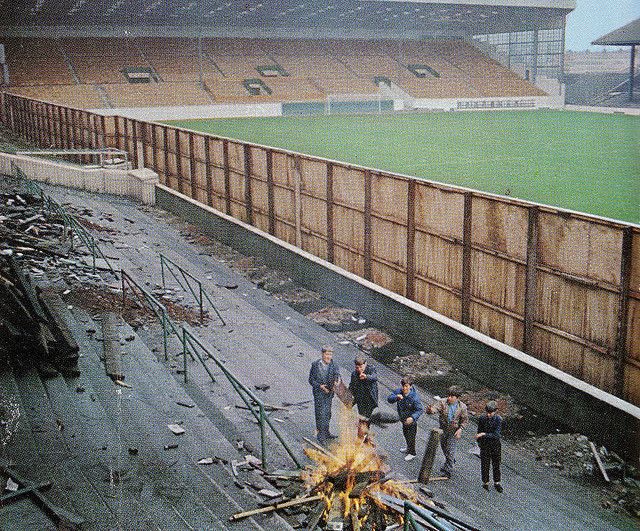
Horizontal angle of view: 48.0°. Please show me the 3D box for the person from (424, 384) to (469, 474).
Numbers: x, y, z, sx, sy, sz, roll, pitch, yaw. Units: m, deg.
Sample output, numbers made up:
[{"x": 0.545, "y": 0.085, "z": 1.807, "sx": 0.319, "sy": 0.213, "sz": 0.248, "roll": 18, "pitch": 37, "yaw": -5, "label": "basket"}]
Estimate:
[{"x": 2.146, "y": 2.750, "z": 11.870, "sx": 0.530, "sy": 1.425, "sz": 0.479, "roll": -8, "pitch": 16, "yaw": -13, "label": "person"}]

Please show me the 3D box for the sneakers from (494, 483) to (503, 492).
[{"x": 2.908, "y": 3.599, "z": 11.610, "sx": 0.089, "sy": 0.108, "sz": 0.170, "roll": -7, "pitch": 1, "yaw": -14, "label": "sneakers"}]

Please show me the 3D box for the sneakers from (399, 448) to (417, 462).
[{"x": 1.508, "y": 3.236, "z": 12.277, "sx": 0.141, "sy": 0.112, "sz": 0.335, "roll": 13, "pitch": 1, "yaw": 6, "label": "sneakers"}]

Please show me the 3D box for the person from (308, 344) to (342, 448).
[{"x": 0.067, "y": 2.165, "z": 12.170, "sx": 0.457, "sy": 1.578, "sz": 0.788, "roll": 1, "pitch": 17, "yaw": 19, "label": "person"}]

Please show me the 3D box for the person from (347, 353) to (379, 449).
[{"x": 0.777, "y": 2.282, "z": 12.581, "sx": 0.493, "sy": 1.622, "sz": 1.005, "roll": -4, "pitch": 16, "yaw": 3, "label": "person"}]

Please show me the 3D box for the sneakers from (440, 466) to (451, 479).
[{"x": 2.095, "y": 3.433, "z": 11.874, "sx": 0.121, "sy": 0.220, "sz": 0.226, "roll": 3, "pitch": 2, "yaw": -6, "label": "sneakers"}]

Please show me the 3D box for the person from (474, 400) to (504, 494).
[{"x": 2.744, "y": 2.874, "z": 11.599, "sx": 0.416, "sy": 1.586, "sz": 0.470, "roll": -1, "pitch": 17, "yaw": 14, "label": "person"}]

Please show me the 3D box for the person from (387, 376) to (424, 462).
[{"x": 1.475, "y": 2.522, "z": 12.303, "sx": 0.525, "sy": 1.447, "sz": 0.823, "roll": -3, "pitch": 16, "yaw": 5, "label": "person"}]
